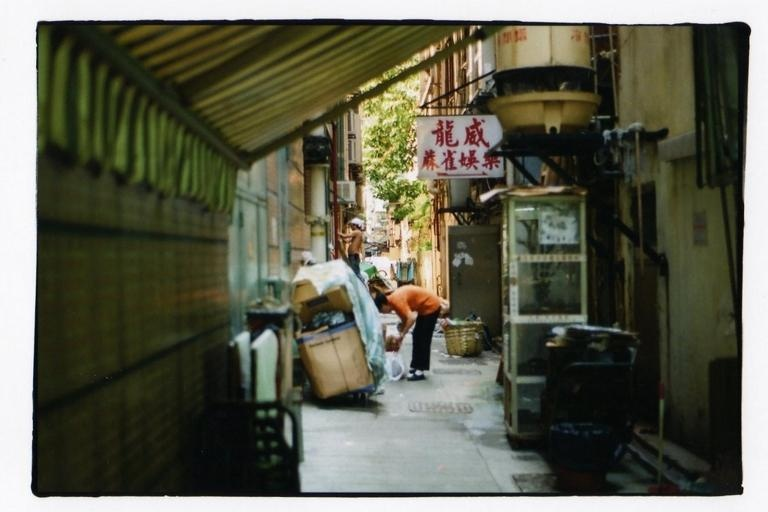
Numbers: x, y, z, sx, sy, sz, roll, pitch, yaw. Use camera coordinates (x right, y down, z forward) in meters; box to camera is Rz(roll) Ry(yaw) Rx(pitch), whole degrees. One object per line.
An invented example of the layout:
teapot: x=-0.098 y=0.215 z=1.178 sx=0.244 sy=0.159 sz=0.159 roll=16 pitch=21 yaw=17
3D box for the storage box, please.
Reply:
storage box: x=-0.534 y=0.993 z=10.349 sx=1.318 sy=1.864 sz=0.343 roll=0 pitch=-2 yaw=-34
